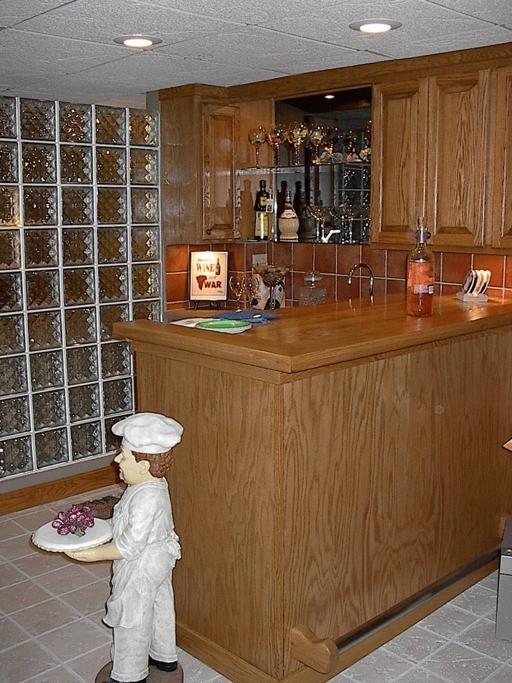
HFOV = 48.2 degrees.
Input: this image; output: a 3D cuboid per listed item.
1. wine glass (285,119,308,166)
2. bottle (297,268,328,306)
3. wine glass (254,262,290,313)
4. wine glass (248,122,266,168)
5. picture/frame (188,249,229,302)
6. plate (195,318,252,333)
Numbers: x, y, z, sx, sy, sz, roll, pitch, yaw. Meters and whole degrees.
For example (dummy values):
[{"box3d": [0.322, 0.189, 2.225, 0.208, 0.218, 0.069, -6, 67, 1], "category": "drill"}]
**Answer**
[{"box3d": [0.230, -1.089, 3.110, 0.157, 0.267, 0.152, -4, 15, -9], "category": "wine glass"}, {"box3d": [0.321, -0.335, 3.543, 0.142, 0.205, 0.286, -3, 4, -30], "category": "bottle"}, {"box3d": [0.095, -0.354, 3.632, 0.208, 0.283, 0.298, -1, 4, 6], "category": "wine glass"}, {"box3d": [-0.013, -1.094, 3.184, 0.131, 0.252, 0.127, -6, 19, -14], "category": "wine glass"}, {"box3d": [-0.313, -0.428, 3.663, 0.353, 0.438, 0.049, -1, 2, -17], "category": "picture/frame"}, {"box3d": [-0.104, -0.044, 1.694, 0.165, 0.030, 0.139, -1, 4, 5], "category": "plate"}]
